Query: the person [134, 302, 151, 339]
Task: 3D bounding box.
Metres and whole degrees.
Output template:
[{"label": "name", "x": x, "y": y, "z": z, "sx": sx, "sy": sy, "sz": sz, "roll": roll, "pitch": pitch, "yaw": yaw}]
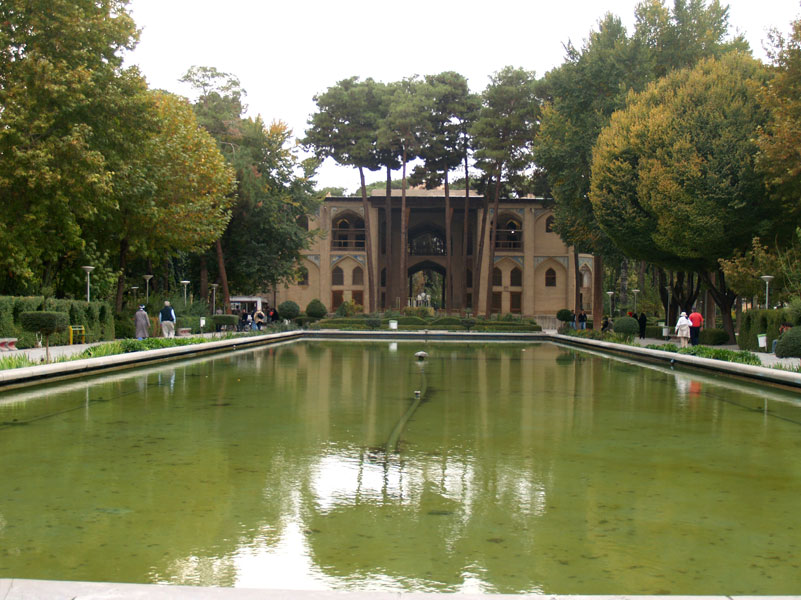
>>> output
[{"label": "person", "x": -7.443, "y": 0.663, "z": 23.748, "sx": 0.320, "sy": 0.881, "sz": 1.521, "roll": 0, "pitch": -2, "yaw": -16}]
